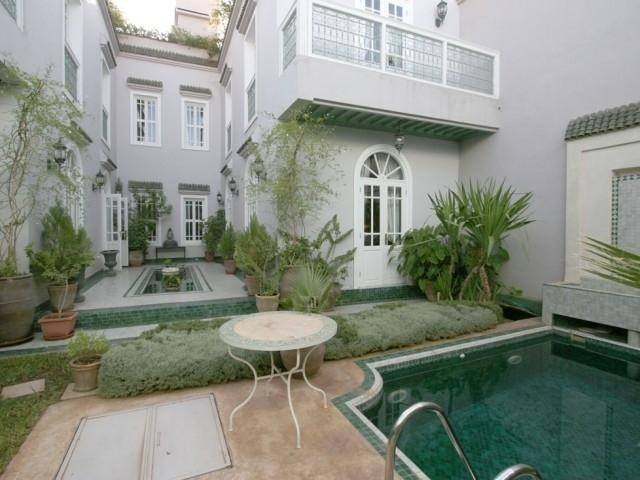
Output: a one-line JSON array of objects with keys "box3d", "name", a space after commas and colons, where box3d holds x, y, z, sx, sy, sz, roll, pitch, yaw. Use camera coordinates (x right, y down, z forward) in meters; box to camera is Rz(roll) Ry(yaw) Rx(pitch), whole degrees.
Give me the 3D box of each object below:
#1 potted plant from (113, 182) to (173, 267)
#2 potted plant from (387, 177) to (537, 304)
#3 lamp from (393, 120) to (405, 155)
[{"box3d": [-5.858, -0.608, 14.181, 1.359, 2.757, 1.487, -2, 4, -22], "name": "potted plant"}, {"box3d": [2.978, 0.046, 9.027, 2.880, 2.722, 2.940, 2, 5, 29], "name": "potted plant"}, {"box3d": [1.778, -2.307, 9.286, 0.227, 0.597, 0.772, 0, 4, 11], "name": "lamp"}]
